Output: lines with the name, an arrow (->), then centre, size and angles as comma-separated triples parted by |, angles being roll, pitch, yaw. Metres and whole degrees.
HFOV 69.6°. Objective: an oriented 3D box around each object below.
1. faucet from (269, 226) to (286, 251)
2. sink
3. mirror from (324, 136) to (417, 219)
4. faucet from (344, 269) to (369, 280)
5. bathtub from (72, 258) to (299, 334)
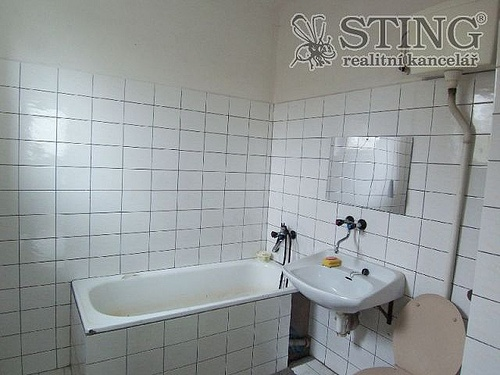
faucet -> 0.282, 0.537, 3.690 | 0.137, 0.292, 0.271 | 0, 6, 0
sink -> 0.690, 0.795, 2.799 | 0.679, 0.402, 0.729 | -4, 7, -33
mirror -> 0.978, -0.081, 2.856 | 0.068, 0.561, 0.610 | -5, 11, -39
faucet -> 0.841, 0.685, 2.834 | 0.194, 0.082, 0.075 | -18, 8, -38
bathtub -> -0.591, 0.914, 3.209 | 1.374, 0.293, 0.723 | -2, 5, -29
